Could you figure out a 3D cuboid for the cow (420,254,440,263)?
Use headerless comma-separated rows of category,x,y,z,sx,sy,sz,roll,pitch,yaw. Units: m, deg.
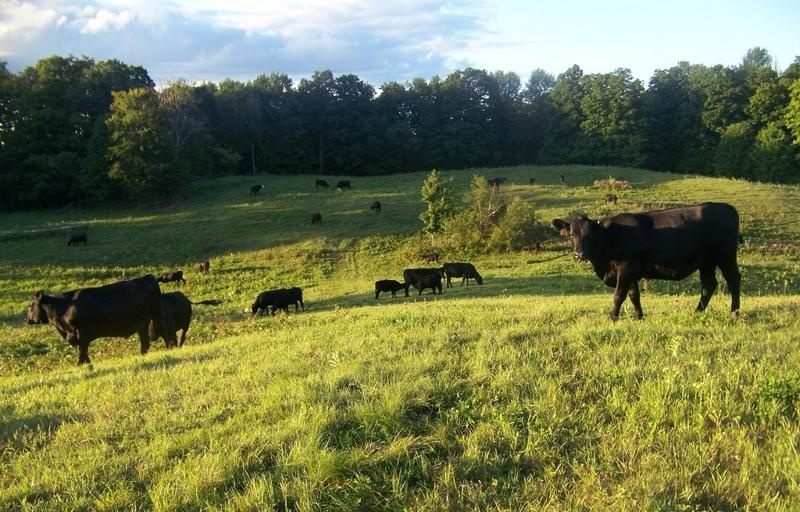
cow,3.299,0.176,88.751,1.986,0.725,1.971,6,13,39

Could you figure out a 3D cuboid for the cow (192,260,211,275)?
cow,-21.877,1.292,89.370,1.470,0.875,1.914,1,6,-11

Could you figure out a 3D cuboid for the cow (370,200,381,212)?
cow,-3.248,-6.577,106.738,1.412,1.237,2.567,-2,10,0
